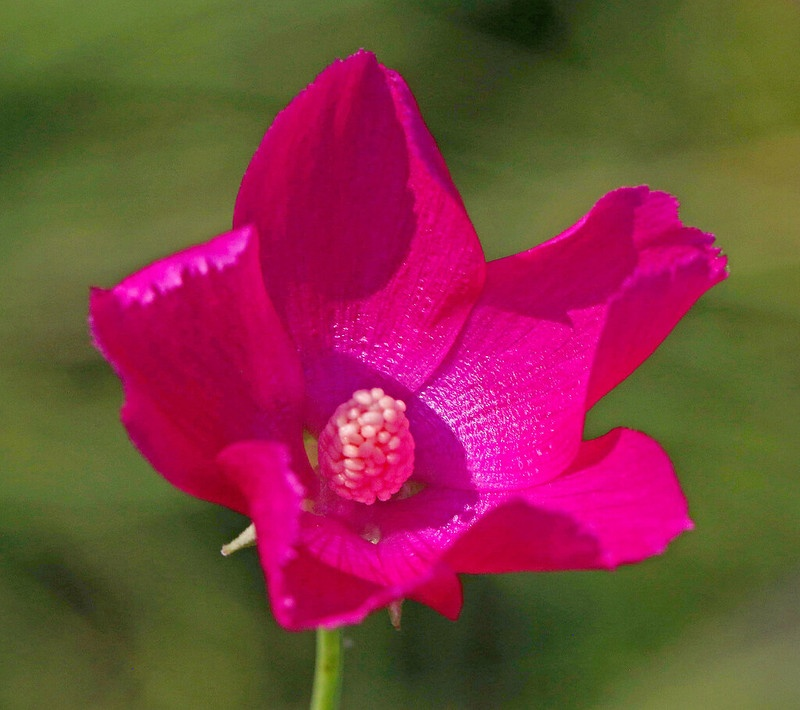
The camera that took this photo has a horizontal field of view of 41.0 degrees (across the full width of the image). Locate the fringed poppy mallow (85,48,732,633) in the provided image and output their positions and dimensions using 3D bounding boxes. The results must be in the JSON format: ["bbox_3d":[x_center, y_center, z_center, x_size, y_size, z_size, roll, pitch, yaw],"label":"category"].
[{"bbox_3d":[0.017,0.009,0.665,0.360,0.216,0.352,21,52,14],"label":"fringed poppy mallow"}]
